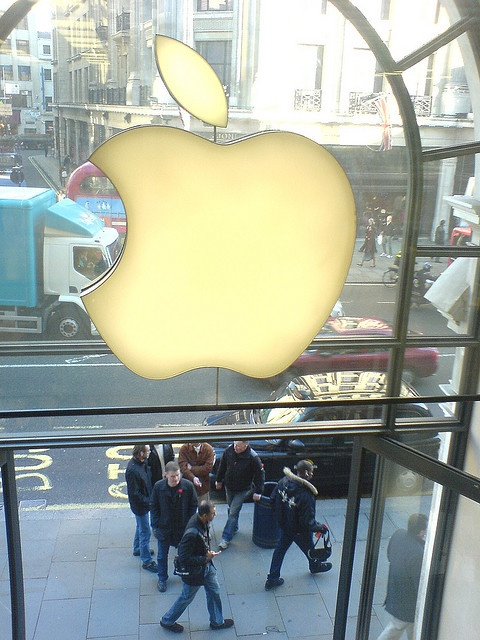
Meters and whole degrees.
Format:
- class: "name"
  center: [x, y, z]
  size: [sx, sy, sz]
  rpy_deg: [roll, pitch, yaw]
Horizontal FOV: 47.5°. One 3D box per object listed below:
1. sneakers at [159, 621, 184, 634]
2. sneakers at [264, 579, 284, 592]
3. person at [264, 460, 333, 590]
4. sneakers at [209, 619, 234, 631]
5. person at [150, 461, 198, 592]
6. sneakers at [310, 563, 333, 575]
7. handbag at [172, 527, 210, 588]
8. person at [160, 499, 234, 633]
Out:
- class: "sneakers"
  center: [-0.572, 2.550, 4.537]
  size: [0.173, 0.075, 0.075]
  rpy_deg: [3, 39, 9]
- class: "sneakers"
  center: [0.316, 2.446, 5.098]
  size: [0.188, 0.079, 0.069]
  rpy_deg: [-17, 34, -23]
- class: "person"
  center: [0.556, 1.907, 5.055]
  size: [0.544, 1.247, 0.525]
  rpy_deg: [7, 15, 23]
- class: "sneakers"
  center: [-0.155, 2.566, 4.640]
  size: [0.203, 0.087, 0.069]
  rpy_deg: [-10, 25, -20]
- class: "person"
  center: [-0.565, 1.777, 4.649]
  size: [0.383, 1.097, 0.316]
  rpy_deg: [0, 8, -7]
- class: "sneakers"
  center: [0.772, 2.399, 5.280]
  size: [0.226, 0.164, 0.085]
  rpy_deg: [-11, 52, -3]
- class: "handbag"
  center: [-0.361, 1.879, 4.418]
  size: [0.287, 0.466, 0.360]
  rpy_deg: [-3, -7, 23]
- class: "person"
  center: [-0.394, 2.144, 4.668]
  size: [0.744, 1.291, 0.455]
  rpy_deg: [-2, 41, -4]
